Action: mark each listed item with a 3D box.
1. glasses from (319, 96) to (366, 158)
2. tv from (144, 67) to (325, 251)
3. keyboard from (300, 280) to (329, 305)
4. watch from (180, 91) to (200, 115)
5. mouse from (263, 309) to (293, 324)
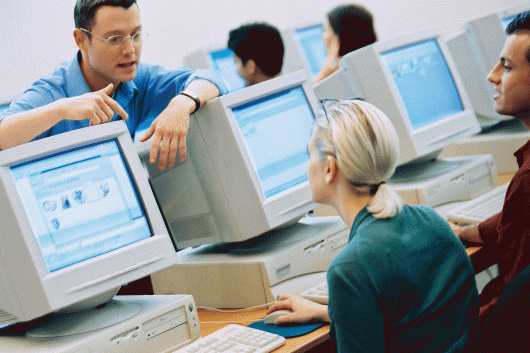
[{"bbox_3d":[0.224,-0.151,1.346,0.056,0.180,0.187,3,5,36],"label":"glasses"},{"bbox_3d":[-0.109,-0.049,2.003,0.658,0.577,0.674,-16,7,44],"label":"tv"},{"bbox_3d":[0.180,0.424,1.552,0.105,0.030,0.155,-11,5,29],"label":"keyboard"},{"bbox_3d":[-0.280,-0.301,1.715,0.088,0.093,0.057,2,28,29],"label":"watch"},{"bbox_3d":[0.045,0.473,1.472,0.076,0.023,0.045,-19,6,4],"label":"mouse"}]
